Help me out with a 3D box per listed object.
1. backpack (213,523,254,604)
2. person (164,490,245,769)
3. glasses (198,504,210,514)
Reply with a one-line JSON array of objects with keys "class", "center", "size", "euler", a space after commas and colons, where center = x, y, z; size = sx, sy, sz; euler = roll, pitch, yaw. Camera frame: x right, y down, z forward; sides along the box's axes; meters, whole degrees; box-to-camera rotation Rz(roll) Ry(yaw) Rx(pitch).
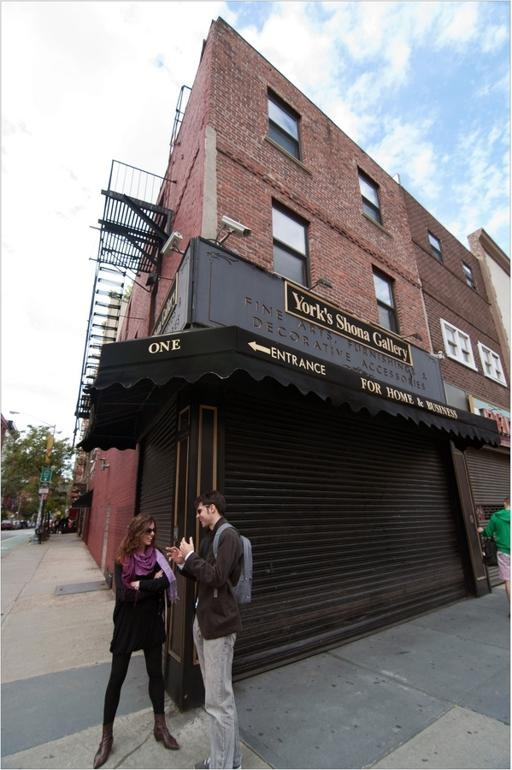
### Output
[{"class": "backpack", "center": [-0.184, 1.367, 3.492], "size": [0.310, 0.563, 0.381], "euler": [4, -37, -7]}, {"class": "person", "center": [-0.331, 1.700, 3.233], "size": [0.486, 1.836, 0.469], "euler": [-2, -15, 8]}, {"class": "glasses", "center": [-0.395, 0.954, 3.490], "size": [0.057, 0.066, 0.073], "euler": [11, -19, -22]}]
